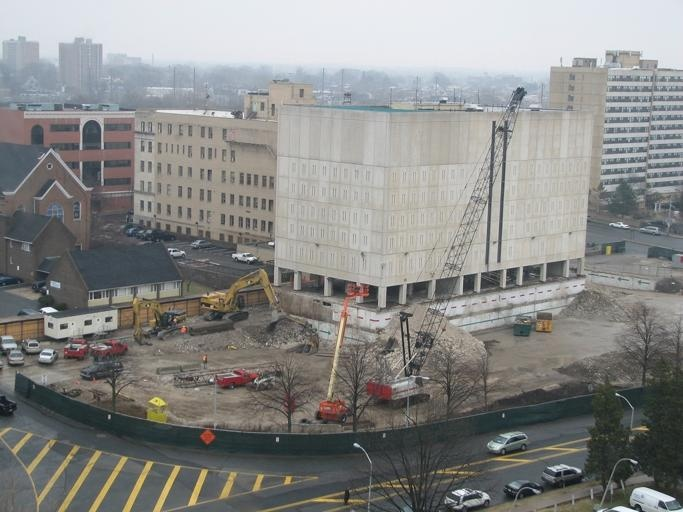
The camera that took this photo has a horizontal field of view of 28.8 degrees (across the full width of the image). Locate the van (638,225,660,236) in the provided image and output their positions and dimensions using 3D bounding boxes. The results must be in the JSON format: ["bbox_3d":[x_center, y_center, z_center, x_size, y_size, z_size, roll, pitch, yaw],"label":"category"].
[{"bbox_3d":[53.786,-3.991,230.967,2.978,1.222,2.008,15,12,33],"label":"van"}]

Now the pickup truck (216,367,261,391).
[{"bbox_3d":[-11.791,13.691,146.148,3.894,1.223,2.065,-7,12,-32],"label":"pickup truck"}]

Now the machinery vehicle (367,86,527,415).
[{"bbox_3d":[13.130,0.814,161.438,13.668,45.283,8.963,-4,2,38],"label":"machinery vehicle"}]

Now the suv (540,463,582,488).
[{"bbox_3d":[21.679,21.611,130.212,3.848,1.758,1.401,-3,11,-17],"label":"suv"}]
